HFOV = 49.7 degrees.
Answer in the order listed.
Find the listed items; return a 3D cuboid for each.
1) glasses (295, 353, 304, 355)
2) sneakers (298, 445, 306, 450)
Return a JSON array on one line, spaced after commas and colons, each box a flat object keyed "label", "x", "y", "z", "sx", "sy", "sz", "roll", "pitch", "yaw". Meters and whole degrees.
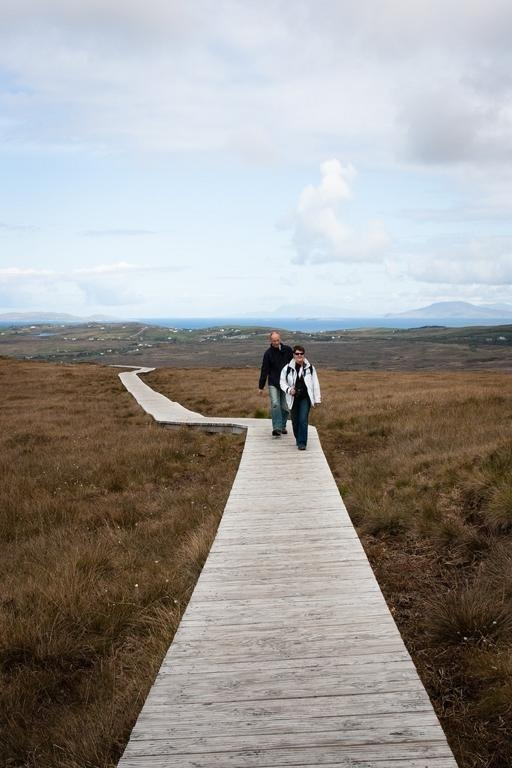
[{"label": "glasses", "x": 0.700, "y": -0.477, "z": 8.919, "sx": 0.095, "sy": 0.053, "sz": 0.194, "roll": -2, "pitch": 3, "yaw": 18}, {"label": "sneakers", "x": 0.767, "y": 1.059, "z": 9.189, "sx": 0.138, "sy": 0.082, "sz": 0.201, "roll": -2, "pitch": 3, "yaw": 7}]
